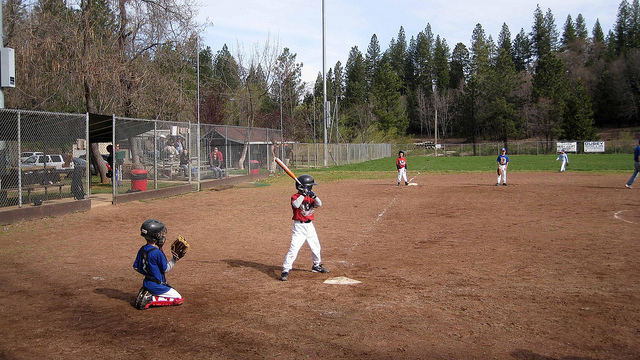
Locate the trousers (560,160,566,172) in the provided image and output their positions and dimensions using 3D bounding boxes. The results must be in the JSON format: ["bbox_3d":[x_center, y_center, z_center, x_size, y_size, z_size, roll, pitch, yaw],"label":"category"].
[{"bbox_3d":[19.742,-1.090,41.486,0.578,0.815,0.209,13,-29,13],"label":"trousers"}]

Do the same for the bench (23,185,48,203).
[{"bbox_3d":[-13.303,0.641,23.826,0.941,0.834,1.864,-7,6,-29],"label":"bench"}]

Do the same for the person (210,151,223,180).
[{"bbox_3d":[-7.057,-0.960,34.354,0.735,1.736,1.576,-5,6,-11],"label":"person"}]

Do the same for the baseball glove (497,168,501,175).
[{"bbox_3d":[11.243,-0.530,31.977,0.143,0.408,0.274,-1,6,25],"label":"baseball glove"}]

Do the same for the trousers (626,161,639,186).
[{"bbox_3d":[18.046,-0.384,29.433,0.573,1.443,1.082,-1,7,29],"label":"trousers"}]

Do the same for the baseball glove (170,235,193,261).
[{"bbox_3d":[-4.385,2.162,16.227,0.570,0.772,0.362,43,6,12],"label":"baseball glove"}]

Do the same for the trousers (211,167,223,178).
[{"bbox_3d":[-6.863,-0.485,34.166,0.755,0.734,0.395,-8,7,-39],"label":"trousers"}]

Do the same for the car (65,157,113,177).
[{"bbox_3d":[-14.197,-0.783,31.391,3.599,1.490,1.701,-1,1,-2],"label":"car"}]

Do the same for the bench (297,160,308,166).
[{"bbox_3d":[-1.973,-1.849,55.566,1.019,0.876,0.240,0,-4,5],"label":"bench"}]

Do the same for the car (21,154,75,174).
[{"bbox_3d":[-17.398,-1.012,32.401,3.482,1.144,1.654,4,3,11],"label":"car"}]

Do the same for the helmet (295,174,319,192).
[{"bbox_3d":[-0.465,0.065,17.111,0.686,0.329,0.464,-3,-1,2],"label":"helmet"}]

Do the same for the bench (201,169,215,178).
[{"bbox_3d":[-7.360,-0.409,33.560,0.429,0.581,1.135,-2,6,17],"label":"bench"}]
